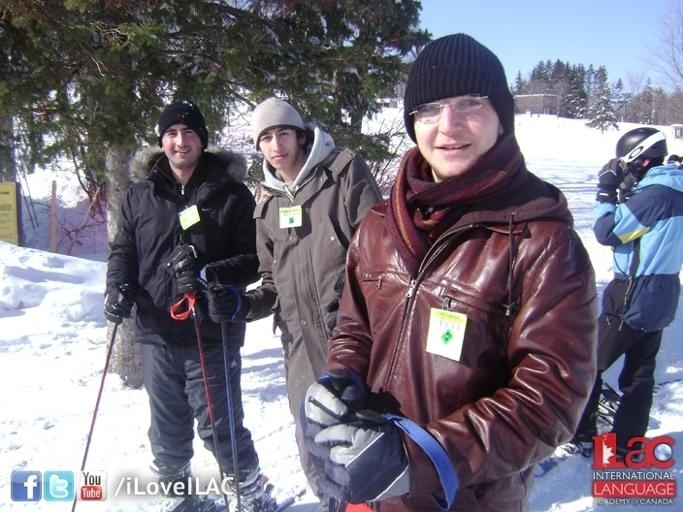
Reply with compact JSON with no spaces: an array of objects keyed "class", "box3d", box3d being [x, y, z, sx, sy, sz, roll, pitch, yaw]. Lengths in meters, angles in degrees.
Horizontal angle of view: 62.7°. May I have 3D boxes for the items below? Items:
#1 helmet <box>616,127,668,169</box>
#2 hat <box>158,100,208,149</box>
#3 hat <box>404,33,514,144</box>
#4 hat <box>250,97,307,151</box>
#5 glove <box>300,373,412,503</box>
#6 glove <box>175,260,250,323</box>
[{"class":"helmet","box3d":[2.771,-0.995,5.236,0.486,0.440,0.393,-9,7,29]},{"class":"hat","box3d":[-1.373,-1.185,4.915,0.320,0.364,0.387,1,-18,-3]},{"class":"hat","box3d":[0.772,-0.979,3.455,0.538,0.591,0.640,-11,-24,38]},{"class":"hat","box3d":[-0.519,-1.038,4.585,0.334,0.315,0.368,-27,-9,-10]},{"class":"glove","box3d":[0.073,0.953,2.978,0.559,0.605,0.345,2,4,43]},{"class":"glove","box3d":[-1.047,0.275,4.576,0.545,0.478,0.234,5,25,13]}]
